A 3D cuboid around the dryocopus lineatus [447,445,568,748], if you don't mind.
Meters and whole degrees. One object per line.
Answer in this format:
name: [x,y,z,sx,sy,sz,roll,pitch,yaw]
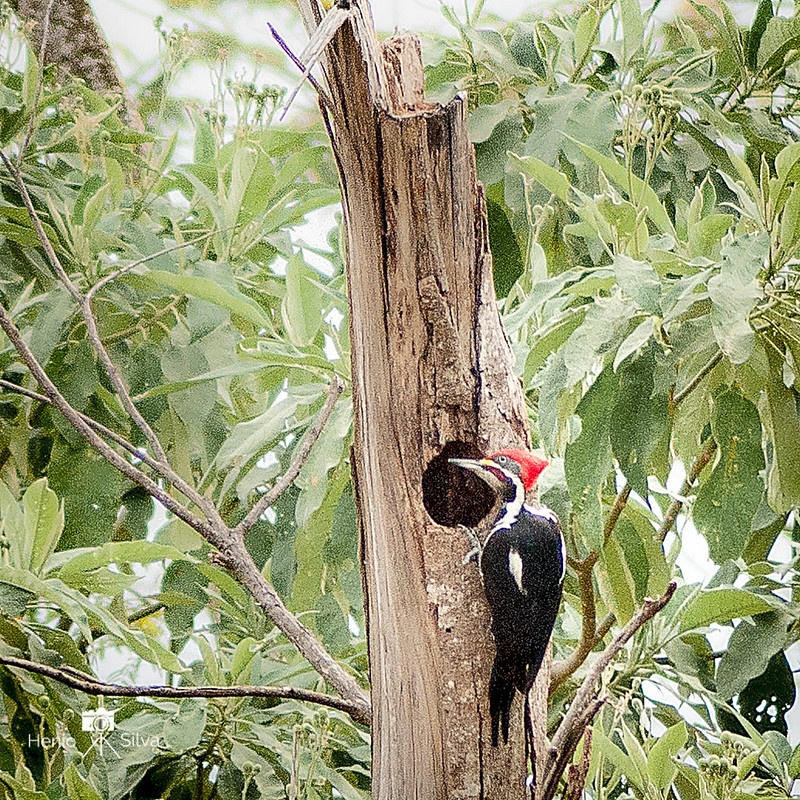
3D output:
dryocopus lineatus: [0.123,0.206,2.024,0.099,0.303,0.084,-11,-13,24]
